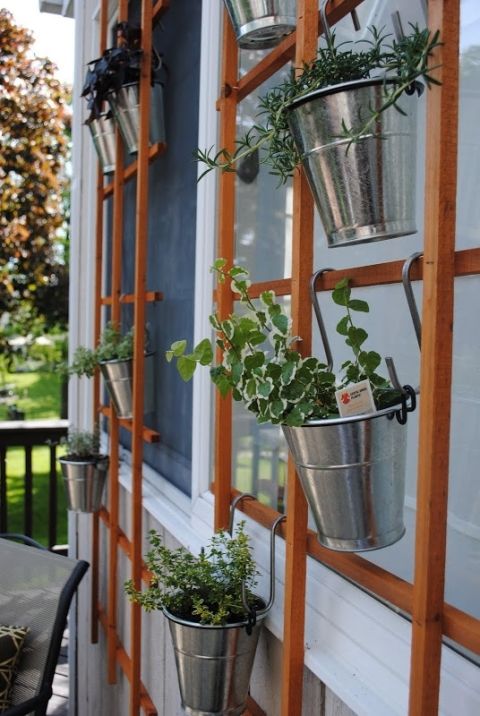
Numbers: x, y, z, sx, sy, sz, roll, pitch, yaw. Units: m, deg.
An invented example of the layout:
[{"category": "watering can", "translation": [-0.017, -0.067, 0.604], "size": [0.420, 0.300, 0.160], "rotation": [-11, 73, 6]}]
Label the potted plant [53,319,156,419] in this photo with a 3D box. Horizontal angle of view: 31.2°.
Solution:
[{"category": "potted plant", "translation": [-0.344, 0.045, 2.244], "size": [0.181, 0.217, 0.171], "rotation": [-12, 2, -19]}]

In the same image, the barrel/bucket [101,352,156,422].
[{"category": "barrel/bucket", "translation": [-0.285, 0.070, 2.240], "size": [0.153, 0.162, 0.152], "rotation": [-6, 9, 1]}]

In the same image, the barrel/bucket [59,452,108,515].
[{"category": "barrel/bucket", "translation": [-0.496, 0.382, 2.605], "size": [0.168, 0.173, 0.160], "rotation": [0, -3, 0]}]

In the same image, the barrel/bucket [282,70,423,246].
[{"category": "barrel/bucket", "translation": [0.145, -0.229, 0.997], "size": [0.179, 0.186, 0.182], "rotation": [-9, 6, 1]}]

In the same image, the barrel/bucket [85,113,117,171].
[{"category": "barrel/bucket", "translation": [-0.359, -0.573, 2.335], "size": [0.097, 0.137, 0.108], "rotation": [-9, 4, 9]}]

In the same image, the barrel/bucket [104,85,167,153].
[{"category": "barrel/bucket", "translation": [-0.242, -0.564, 2.023], "size": [0.129, 0.171, 0.171], "rotation": [-1, 3, -5]}]

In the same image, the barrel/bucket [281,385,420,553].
[{"category": "barrel/bucket", "translation": [0.136, 0.130, 1.021], "size": [0.151, 0.182, 0.175], "rotation": [-2, -7, -37]}]

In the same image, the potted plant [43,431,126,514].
[{"category": "potted plant", "translation": [-0.466, 0.354, 2.614], "size": [0.192, 0.223, 0.149], "rotation": [-3, -4, 34]}]
